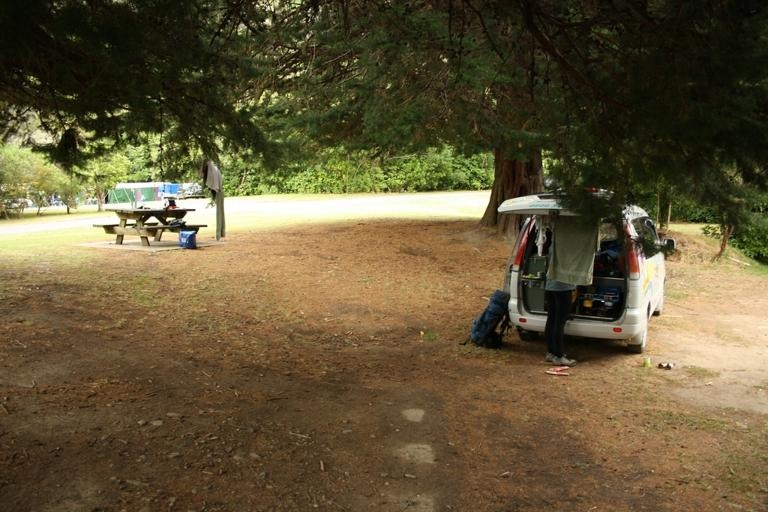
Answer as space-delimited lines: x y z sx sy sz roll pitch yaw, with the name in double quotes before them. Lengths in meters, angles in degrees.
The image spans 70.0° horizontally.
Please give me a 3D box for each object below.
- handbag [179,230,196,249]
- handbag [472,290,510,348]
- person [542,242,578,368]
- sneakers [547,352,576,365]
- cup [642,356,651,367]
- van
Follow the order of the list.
"handbag" -6.280 -0.546 17.377 0.716 0.589 0.439 0 -3 10
"handbag" 1.829 1.054 9.126 0.393 0.936 0.602 15 30 -12
"person" 2.681 0.722 8.265 0.533 1.871 0.365 6 15 23
"sneakers" 2.715 1.552 8.387 0.437 0.163 0.179 -1 11 6
"cup" 4.015 1.605 8.404 0.130 0.125 0.134 0 6 0
"van" 2.972 0.199 8.458 2.128 1.636 3.404 6 18 29
